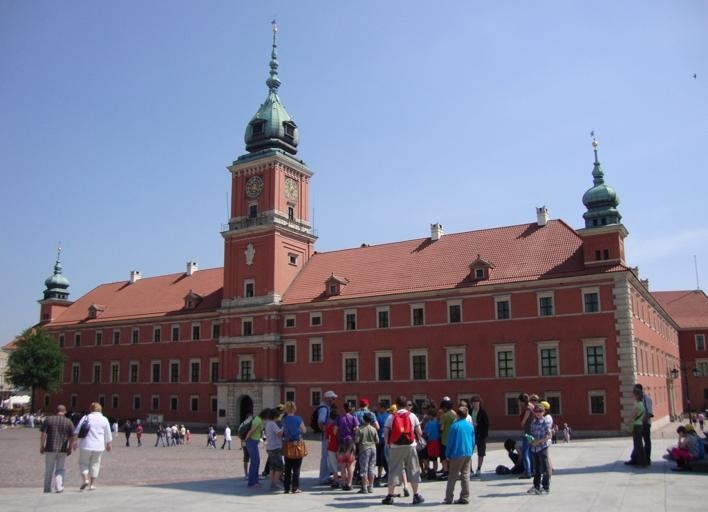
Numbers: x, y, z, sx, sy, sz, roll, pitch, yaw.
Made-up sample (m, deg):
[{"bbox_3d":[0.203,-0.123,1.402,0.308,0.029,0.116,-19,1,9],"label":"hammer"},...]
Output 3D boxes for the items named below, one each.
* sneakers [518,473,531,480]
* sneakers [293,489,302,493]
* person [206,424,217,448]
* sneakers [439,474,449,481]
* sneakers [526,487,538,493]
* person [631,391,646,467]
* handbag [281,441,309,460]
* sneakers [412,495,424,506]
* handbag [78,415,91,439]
[{"bbox_3d":[6.123,7.948,27.492,0.154,0.189,0.459,10,-13,-36],"label":"sneakers"},{"bbox_3d":[-1.964,8.098,26.373,0.097,0.116,0.297,-4,-6,35],"label":"sneakers"},{"bbox_3d":[-8.971,11.402,48.141,0.562,1.515,1.921,-1,1,-11],"label":"person"},{"bbox_3d":[3.273,8.131,28.107,0.400,0.285,0.148,-1,-25,14],"label":"sneakers"},{"bbox_3d":[5.906,7.764,25.339,0.345,0.163,0.144,-3,-15,26],"label":"sneakers"},{"bbox_3d":[10.529,6.284,28.262,0.500,3.154,1.066,0,1,19],"label":"person"},{"bbox_3d":[-2.098,6.716,26.379,0.776,0.567,0.648,5,-19,-24],"label":"handbag"},{"bbox_3d":[2.082,7.937,24.881,0.174,0.207,0.475,-4,-12,29],"label":"sneakers"},{"bbox_3d":[-9.347,5.907,26.292,0.474,1.200,0.879,2,-9,-18],"label":"handbag"}]
